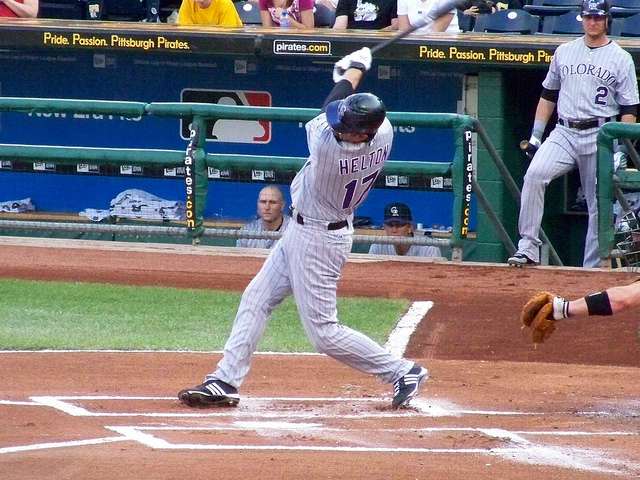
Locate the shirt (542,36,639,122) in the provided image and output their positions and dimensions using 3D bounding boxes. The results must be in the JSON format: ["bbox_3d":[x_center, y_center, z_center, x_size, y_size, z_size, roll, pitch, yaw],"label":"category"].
[{"bbox_3d":[2.198,-1.264,11.478,0.824,0.624,0.349,10,17,25],"label":"shirt"}]

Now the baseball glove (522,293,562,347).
[{"bbox_3d":[1.433,0.509,9.011,0.144,0.304,0.225,18,42,-23],"label":"baseball glove"}]

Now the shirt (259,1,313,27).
[{"bbox_3d":[-0.336,-2.195,13.993,0.523,0.246,0.181,2,10,3],"label":"shirt"}]

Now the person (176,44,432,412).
[{"bbox_3d":[-0.011,0.072,8.944,1.428,1.954,0.393,2,10,1],"label":"person"}]

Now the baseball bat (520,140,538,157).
[{"bbox_3d":[1.736,-0.752,11.718,0.172,0.065,0.077,41,-5,-1],"label":"baseball bat"}]

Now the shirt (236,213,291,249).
[{"bbox_3d":[-0.483,-0.066,12.336,0.546,0.306,0.360,6,10,23],"label":"shirt"}]
